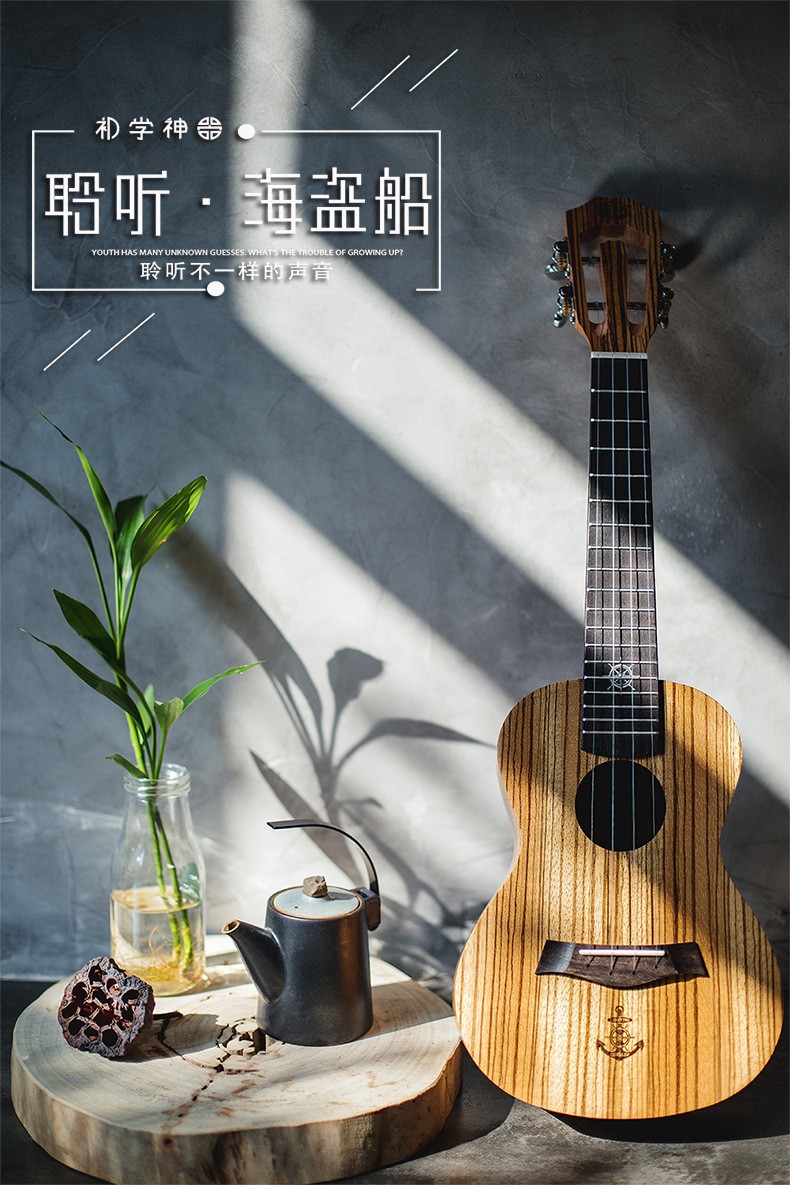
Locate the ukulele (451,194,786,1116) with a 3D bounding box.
[{"bbox_3d":[0.226,0.021,1.282,0.345,1.028,0.327,-1,2,-6],"label":"ukulele"}]

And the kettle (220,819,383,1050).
[{"bbox_3d":[-0.097,0.381,1.284,0.198,0.228,0.143,0,1,-38],"label":"kettle"}]
